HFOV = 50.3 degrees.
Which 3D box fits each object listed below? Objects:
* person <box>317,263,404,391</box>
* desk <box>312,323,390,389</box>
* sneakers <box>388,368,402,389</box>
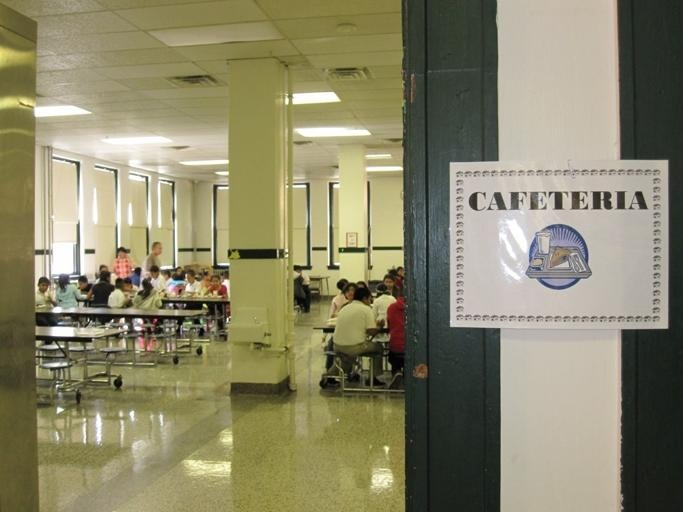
[{"bbox_3d":[0.253,0.875,8.147,0.900,1.104,1.539,0,1,6],"label":"person"},{"bbox_3d":[0.026,1.105,8.410,0.688,0.619,0.852,-6,-4,1],"label":"desk"},{"bbox_3d":[0.577,1.314,7.737,0.091,0.256,0.102,11,37,0],"label":"sneakers"}]
